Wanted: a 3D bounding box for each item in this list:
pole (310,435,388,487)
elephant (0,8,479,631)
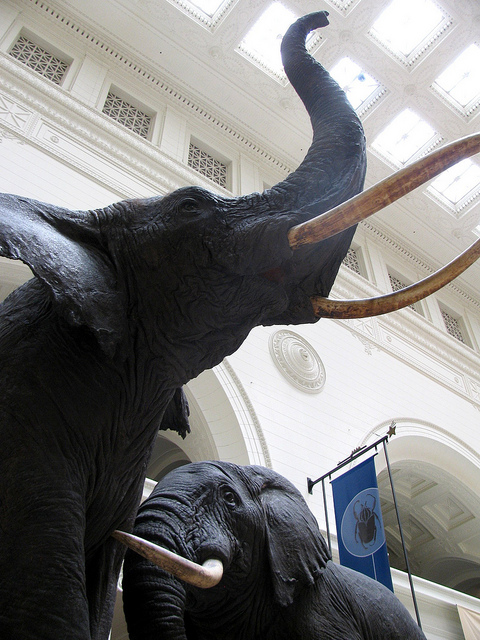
[{"bbox_3d":[0.816,1.068,4.228,0.774,0.434,0.409,-9,-17,36],"label":"pole"},{"bbox_3d":[-0.044,-0.172,1.197,0.808,1.510,0.520,2,-36,8],"label":"elephant"}]
